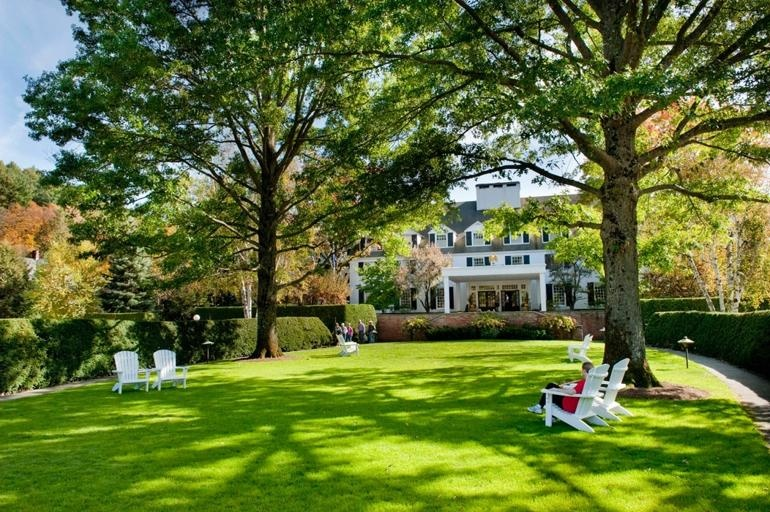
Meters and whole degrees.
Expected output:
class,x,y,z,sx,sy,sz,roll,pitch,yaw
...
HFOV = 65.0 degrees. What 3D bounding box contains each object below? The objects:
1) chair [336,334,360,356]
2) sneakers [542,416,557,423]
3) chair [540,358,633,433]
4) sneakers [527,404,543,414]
class,x,y,z,sx,sy,sz,roll,pitch,yaw
chair,-1.790,4.770,31.277,1.283,1.560,1.264,1,-1,-16
sneakers,4.267,4.233,15.697,0.283,0.114,0.213,-7,-9,41
chair,5.106,3.530,15.359,2.180,1.752,1.466,-1,-9,2
sneakers,4.052,4.115,16.242,0.186,0.229,0.432,7,-7,-30
